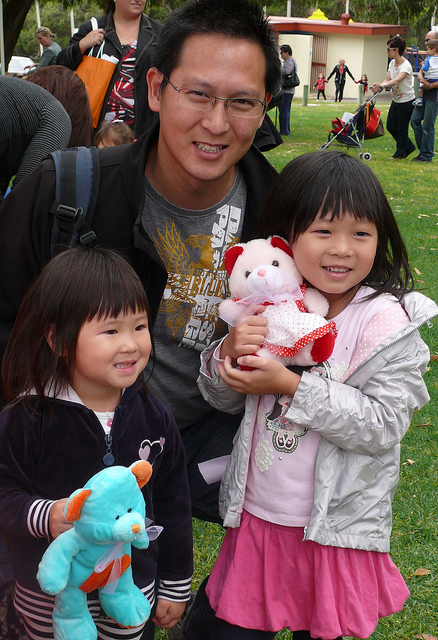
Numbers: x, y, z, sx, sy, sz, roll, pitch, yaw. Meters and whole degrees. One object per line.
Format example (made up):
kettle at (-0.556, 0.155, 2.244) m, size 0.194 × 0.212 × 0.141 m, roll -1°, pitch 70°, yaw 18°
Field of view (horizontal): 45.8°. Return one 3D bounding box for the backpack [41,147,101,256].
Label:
backpack at (-0.445, -0.373, 1.607) m, size 0.158 × 0.312 × 0.348 m, roll 1°, pitch 19°, yaw -15°

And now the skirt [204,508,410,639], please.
skirt at (0.292, 0.786, 1.547) m, size 0.540 × 0.314 × 0.246 m, roll 11°, pitch 19°, yaw 15°

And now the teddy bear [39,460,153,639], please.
teddy bear at (-0.268, 0.544, 1.184) m, size 0.233 × 0.545 × 0.288 m, roll 2°, pitch 18°, yaw -11°

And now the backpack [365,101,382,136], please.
backpack at (3.697, -4.875, 12.555) m, size 0.278 × 0.702 × 0.943 m, roll 12°, pitch 19°, yaw 21°

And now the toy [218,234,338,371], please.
toy at (0.175, -0.054, 1.584) m, size 0.337 × 0.387 × 0.302 m, roll -10°, pitch 10°, yaw 17°

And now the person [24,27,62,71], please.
person at (-4.716, -7.164, 13.768) m, size 0.855 × 1.107 × 0.817 m, roll 7°, pitch 27°, yaw -3°
